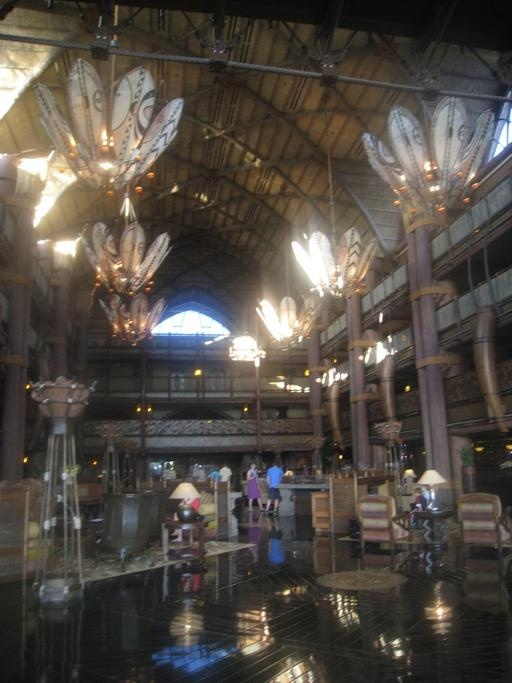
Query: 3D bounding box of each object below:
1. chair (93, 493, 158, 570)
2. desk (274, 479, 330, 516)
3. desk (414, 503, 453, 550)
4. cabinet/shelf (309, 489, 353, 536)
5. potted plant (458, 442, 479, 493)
[{"bbox_3d":[-1.994,2.992,9.428,1.086,0.983,1.068,15,-20,-39],"label":"chair"},{"bbox_3d":[1.447,4.875,18.135,2.068,1.103,1.919,-3,-24,8],"label":"desk"},{"bbox_3d":[3.194,3.379,10.532,0.754,0.490,1.087,-1,-8,5],"label":"desk"},{"bbox_3d":[1.550,3.648,12.418,1.100,0.931,0.801,-2,-20,4],"label":"cabinet/shelf"},{"bbox_3d":[5.660,3.405,15.537,0.407,1.223,1.138,-10,-16,18],"label":"potted plant"}]
